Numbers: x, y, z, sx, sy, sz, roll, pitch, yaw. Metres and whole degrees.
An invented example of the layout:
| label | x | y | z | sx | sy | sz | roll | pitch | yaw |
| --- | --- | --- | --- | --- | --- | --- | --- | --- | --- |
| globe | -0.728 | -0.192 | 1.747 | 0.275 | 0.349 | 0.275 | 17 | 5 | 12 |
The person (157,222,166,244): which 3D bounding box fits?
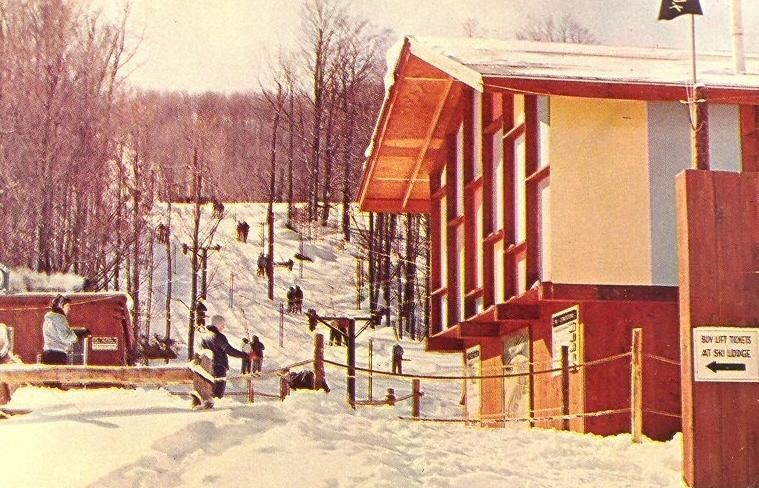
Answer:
| label | x | y | z | sx | sy | sz | roll | pitch | yaw |
| --- | --- | --- | --- | --- | --- | --- | --- | --- | --- |
| person | -12.688 | -0.553 | 93.800 | 0.373 | 1.237 | 0.798 | -5 | 11 | 2 |
